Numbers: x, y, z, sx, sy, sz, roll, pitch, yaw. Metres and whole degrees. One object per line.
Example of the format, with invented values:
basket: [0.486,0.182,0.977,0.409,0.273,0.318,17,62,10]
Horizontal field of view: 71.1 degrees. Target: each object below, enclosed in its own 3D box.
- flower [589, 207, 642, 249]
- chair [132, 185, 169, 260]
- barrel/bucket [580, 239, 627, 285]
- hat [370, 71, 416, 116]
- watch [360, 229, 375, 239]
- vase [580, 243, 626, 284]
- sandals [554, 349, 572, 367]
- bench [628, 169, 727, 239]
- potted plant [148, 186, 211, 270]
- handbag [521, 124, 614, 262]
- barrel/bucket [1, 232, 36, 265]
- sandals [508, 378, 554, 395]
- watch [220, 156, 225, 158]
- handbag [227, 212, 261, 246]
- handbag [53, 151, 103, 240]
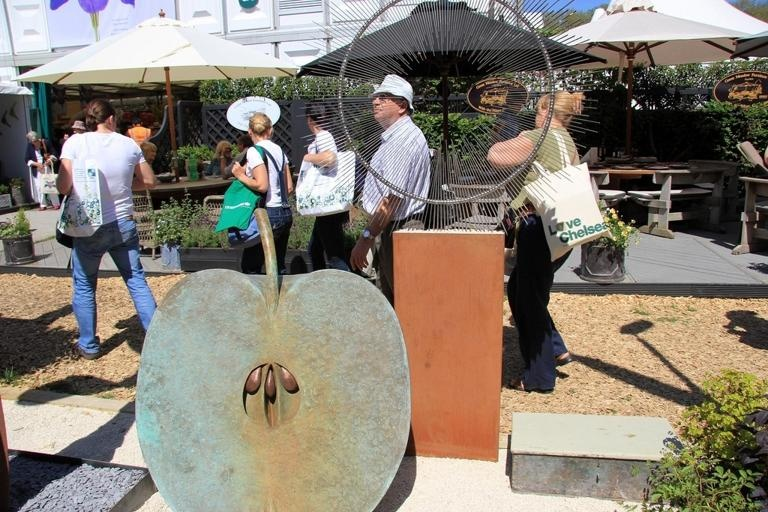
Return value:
flower: [2.658,-0.312,6.139,0.601,0.618,0.342,1,-15,0]
chair: [-3.631,-0.513,8.092,0.646,0.866,0.609,-1,4,-42]
barrel/bucket: [2.592,0.085,6.555,0.501,0.514,0.507,0,-1,0]
hat: [0.076,-1.164,3.708,0.226,0.125,0.181,9,4,32]
watch: [-0.128,-0.150,4.017,0.087,0.061,0.087,11,-2,39]
vase: [2.571,0.068,6.513,0.489,0.475,0.482,-1,0,-19]
sandals: [1.576,0.913,4.794,0.101,0.099,0.236,-14,-12,-6]
bench: [4.732,-0.904,8.682,1.531,0.989,0.856,-5,10,-20]
potted plant: [-2.919,-0.185,7.867,0.944,1.048,0.724,-26,-17,35]
handbag: [1.315,-0.505,3.944,0.462,1.006,0.227,-15,-9,4]
barrel/bucket: [-5.401,-0.128,8.019,0.438,0.476,0.441,-7,4,0]
sandals: [1.210,1.103,4.482,0.343,0.095,0.136,3,7,22]
watch: [-2.926,-1.797,9.637,0.036,0.036,0.037,0,4,21]
handbag: [-1.311,-0.268,4.991,0.274,0.330,0.173,-3,-9,9]
handbag: [-2.672,-0.516,4.685,0.383,0.664,0.146,1,13,4]
